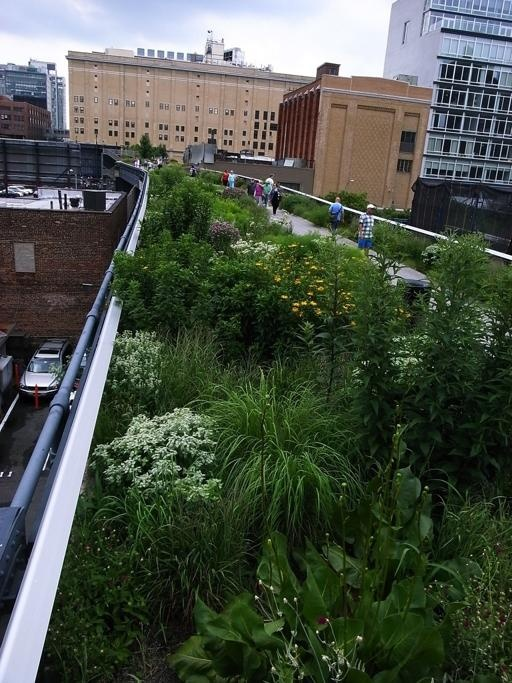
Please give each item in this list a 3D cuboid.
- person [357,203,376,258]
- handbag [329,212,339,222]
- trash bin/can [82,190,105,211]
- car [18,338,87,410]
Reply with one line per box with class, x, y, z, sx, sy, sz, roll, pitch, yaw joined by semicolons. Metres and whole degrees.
person;3.663;-3.798;14.325;0.499;1.444;2.246;8;19;11
handbag;3.346;-5.399;18.418;0.473;0.388;0.687;0;-3;17
trash bin/can;-8.512;-7.434;22.727;0.999;0.984;0.918;-4;20;-23
car;-9.902;1.507;20.583;1.900;2.085;2.913;5;19;1
